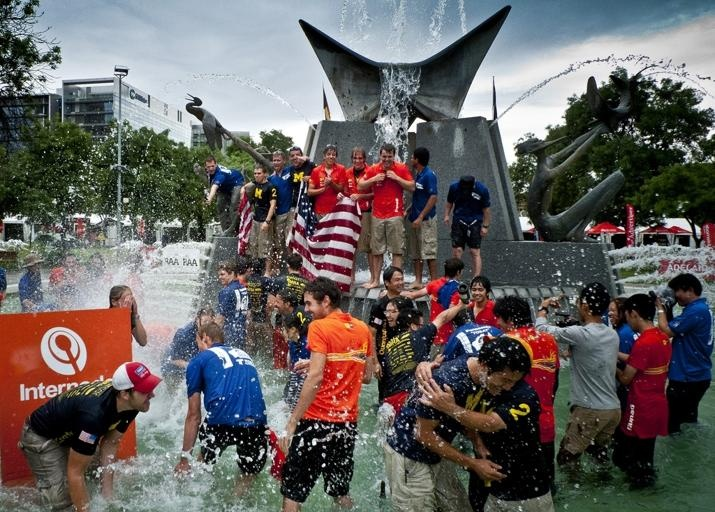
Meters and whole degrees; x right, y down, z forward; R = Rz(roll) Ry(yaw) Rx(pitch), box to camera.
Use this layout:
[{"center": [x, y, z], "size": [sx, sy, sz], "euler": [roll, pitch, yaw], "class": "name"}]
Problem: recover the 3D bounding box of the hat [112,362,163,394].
[{"center": [-2.580, 1.397, 6.633], "size": [0.477, 0.298, 0.345], "euler": [-4, 3, -9], "class": "hat"}]
